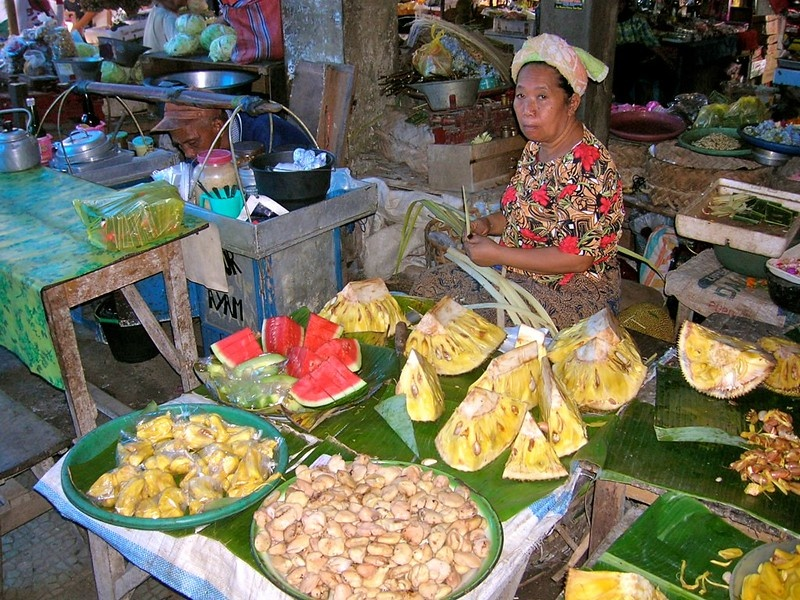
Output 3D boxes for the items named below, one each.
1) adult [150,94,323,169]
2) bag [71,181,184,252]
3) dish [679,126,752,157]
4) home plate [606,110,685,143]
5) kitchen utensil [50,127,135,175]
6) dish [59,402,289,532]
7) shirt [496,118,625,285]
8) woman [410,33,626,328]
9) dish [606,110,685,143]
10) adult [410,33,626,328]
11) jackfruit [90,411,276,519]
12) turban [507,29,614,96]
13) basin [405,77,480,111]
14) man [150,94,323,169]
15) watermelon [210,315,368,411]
[{"bbox_3d":[-1.244,-1.298,4.363,1.073,0.472,1.131,-20,24,-17],"label":"adult"},{"bbox_3d":[-1.392,-0.400,3.108,0.463,0.172,0.350,-20,61,-23],"label":"bag"},{"bbox_3d":[2.410,-1.206,4.592,0.355,0.065,0.354,-25,42,-31],"label":"dish"},{"bbox_3d":[2.111,-1.493,5.132,0.472,0.070,0.490,-5,31,1],"label":"home plate"},{"bbox_3d":[-2.146,-0.974,4.177,0.397,0.177,0.395,-25,44,-30],"label":"kitchen utensil"},{"bbox_3d":[-0.888,0.560,2.166,0.484,0.120,0.481,-10,29,-30],"label":"dish"},{"bbox_3d":[0.956,-0.623,3.617,0.640,0.808,1.010,-9,26,-11],"label":"shirt"},{"bbox_3d":[0.676,-0.618,3.456,1.209,1.674,1.066,-18,26,-25],"label":"woman"},{"bbox_3d":[2.132,-1.482,5.114,0.472,0.070,0.490,-5,31,1],"label":"dish"},{"bbox_3d":[0.680,-0.613,3.455,1.171,1.674,1.036,-15,25,-19],"label":"adult"},{"bbox_3d":[-0.723,0.554,2.096,0.636,0.129,0.453,1,35,-1],"label":"jackfruit"},{"bbox_3d":[0.868,-1.246,3.241,0.558,0.322,0.394,17,35,36],"label":"turban"},{"bbox_3d":[0.423,-1.752,5.161,0.410,0.174,0.351,-6,28,4],"label":"basin"},{"bbox_3d":[-1.180,-1.279,4.498,1.195,0.508,0.749,-12,18,-27],"label":"man"},{"bbox_3d":[-0.454,0.275,2.372,0.467,0.194,0.412,16,35,38],"label":"watermelon"}]
